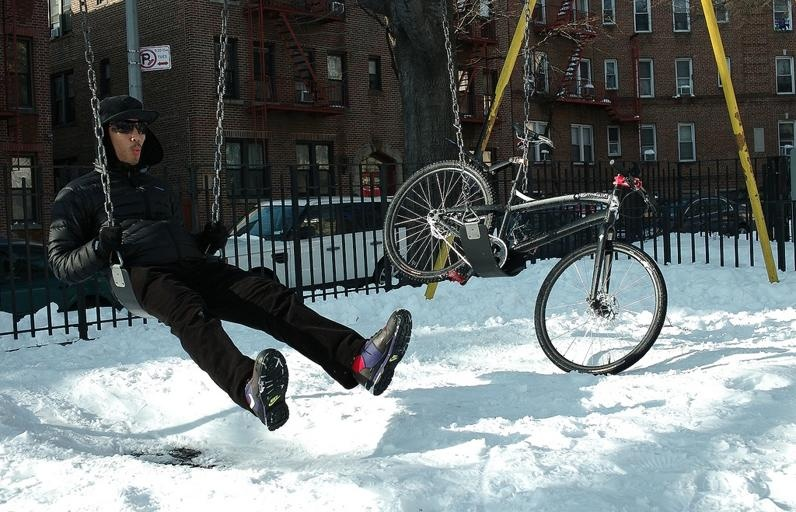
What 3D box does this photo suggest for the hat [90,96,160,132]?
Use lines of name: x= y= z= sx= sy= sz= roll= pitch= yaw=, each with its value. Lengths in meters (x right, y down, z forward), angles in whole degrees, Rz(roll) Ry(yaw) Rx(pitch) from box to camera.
hat: x=-2.420 y=-1.301 z=6.038 sx=0.399 sy=0.150 sz=0.349 roll=-11 pitch=-6 yaw=40

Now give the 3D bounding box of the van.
van: x=-1.331 y=-0.290 z=12.123 sx=2.919 sy=1.286 sz=1.635 roll=1 pitch=0 yaw=-33

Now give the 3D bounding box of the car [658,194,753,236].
car: x=7.489 y=-1.001 z=16.626 sx=3.417 sy=1.073 sz=1.517 roll=1 pitch=3 yaw=-23

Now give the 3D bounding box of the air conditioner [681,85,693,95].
air conditioner: x=16.823 y=-9.756 z=39.838 sx=0.646 sy=0.552 sz=0.352 roll=-1 pitch=1 yaw=-2

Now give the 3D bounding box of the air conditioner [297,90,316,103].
air conditioner: x=-4.118 y=-7.142 z=30.181 sx=0.717 sy=0.634 sz=0.378 roll=1 pitch=-5 yaw=-28
